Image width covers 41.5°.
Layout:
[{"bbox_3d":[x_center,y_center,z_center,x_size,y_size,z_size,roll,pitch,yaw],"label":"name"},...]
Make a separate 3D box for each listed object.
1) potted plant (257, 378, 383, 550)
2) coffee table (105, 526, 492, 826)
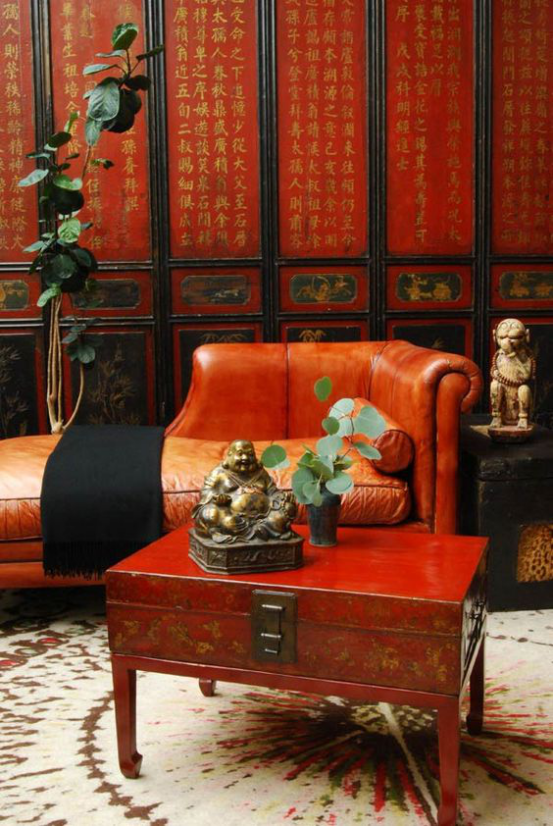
[{"bbox_3d":[0.073,0.120,1.406,0.221,0.236,0.158,1,0,-30],"label":"potted plant"},{"bbox_3d":[0.075,0.250,1.223,0.626,0.361,0.427,1,4,20],"label":"coffee table"}]
